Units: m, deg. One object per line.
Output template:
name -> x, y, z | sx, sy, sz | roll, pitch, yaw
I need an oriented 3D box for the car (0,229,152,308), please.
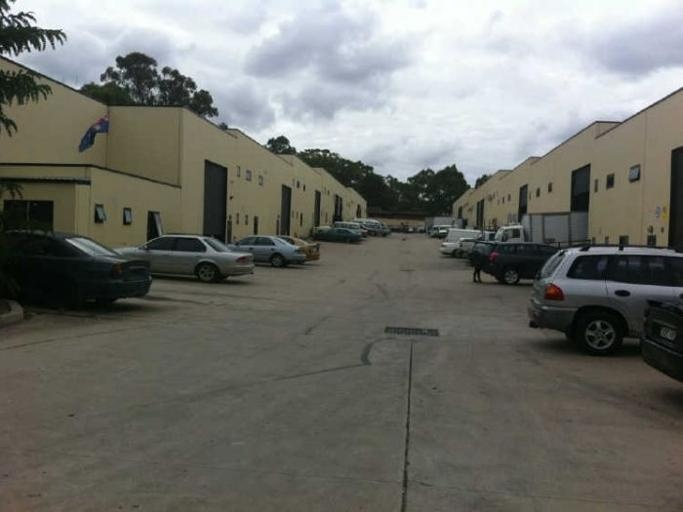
car -> -6.051, 0.328, 12.608 | 3.021, 1.018, 1.366 | 6, 3, 16
